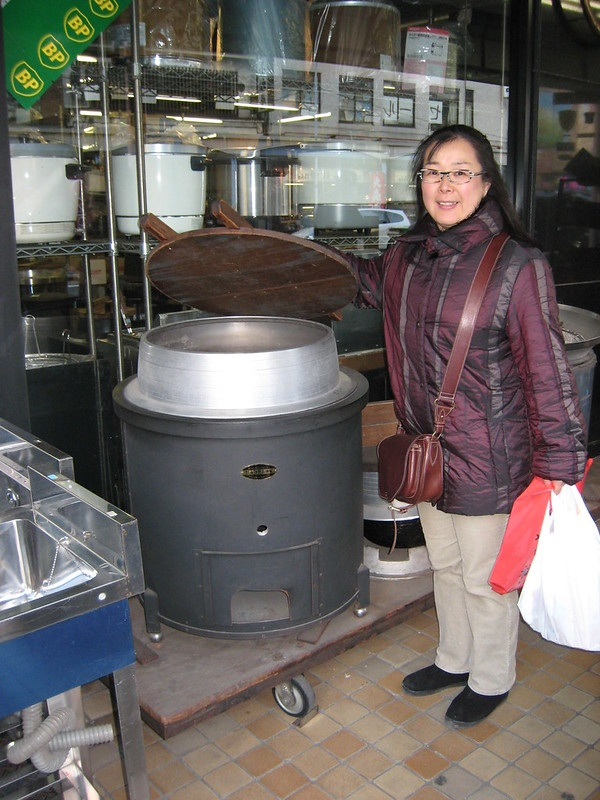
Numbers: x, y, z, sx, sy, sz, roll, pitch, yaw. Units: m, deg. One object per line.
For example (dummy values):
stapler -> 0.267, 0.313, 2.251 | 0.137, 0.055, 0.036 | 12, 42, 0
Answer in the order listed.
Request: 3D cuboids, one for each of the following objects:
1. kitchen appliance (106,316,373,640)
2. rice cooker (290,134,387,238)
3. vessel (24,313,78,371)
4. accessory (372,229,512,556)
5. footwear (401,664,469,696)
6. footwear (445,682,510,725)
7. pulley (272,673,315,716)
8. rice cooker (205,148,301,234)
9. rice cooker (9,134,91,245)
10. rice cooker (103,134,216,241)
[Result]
kitchen appliance -> -0.169, 0.186, 2.127 | 0.762, 0.738, 0.726 | -12, 18, -34
rice cooker -> 0.107, -0.875, 3.023 | 0.502, 0.371, 0.251 | -11, 16, -33
vessel -> -0.937, -0.221, 2.614 | 0.202, 0.186, 0.191 | 5, 10, 22
accessory -> 0.351, -0.063, 1.771 | 0.313, 0.688, 0.166 | 0, 13, 5
footwear -> 0.385, 0.824, 2.117 | 0.218, 0.076, 0.073 | 1, 2, -9
footwear -> 0.490, 0.842, 1.980 | 0.182, 0.057, 0.067 | -3, 2, -37
pulley -> -0.021, 0.827, 1.995 | 0.045, 0.117, 0.120 | -8, 44, -49
rice cooker -> -0.115, -0.887, 2.923 | 0.340, 0.318, 0.311 | -13, 30, -21
rice cooker -> -0.776, -0.643, 2.240 | 0.137, 0.298, 0.279 | 4, 13, 22
rice cooker -> -0.538, -0.739, 2.553 | 0.387, 0.332, 0.361 | -9, 21, -25
